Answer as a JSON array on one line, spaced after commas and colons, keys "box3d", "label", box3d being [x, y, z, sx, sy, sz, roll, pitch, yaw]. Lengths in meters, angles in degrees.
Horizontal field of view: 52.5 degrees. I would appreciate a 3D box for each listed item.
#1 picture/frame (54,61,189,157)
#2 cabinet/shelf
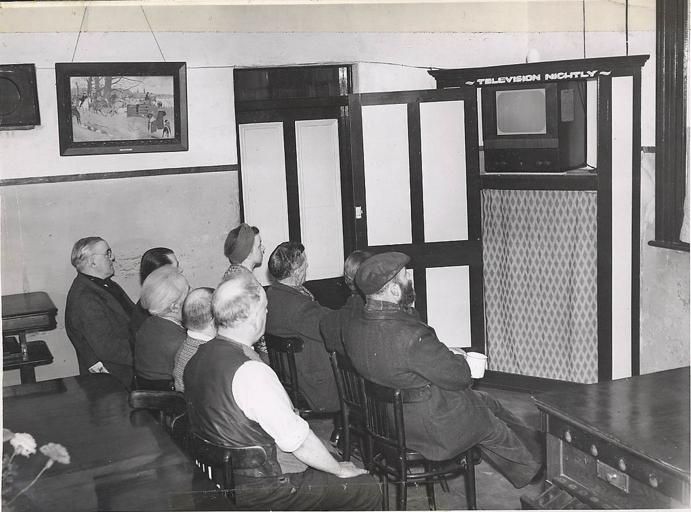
[{"box3d": [-1.540, -0.989, 4.638, 0.632, 0.472, 0.013, -2, 3, -15], "label": "picture/frame"}, {"box3d": [-2.004, 0.510, 4.398, 0.318, 0.530, 0.346, -4, 6, -27], "label": "cabinet/shelf"}]
